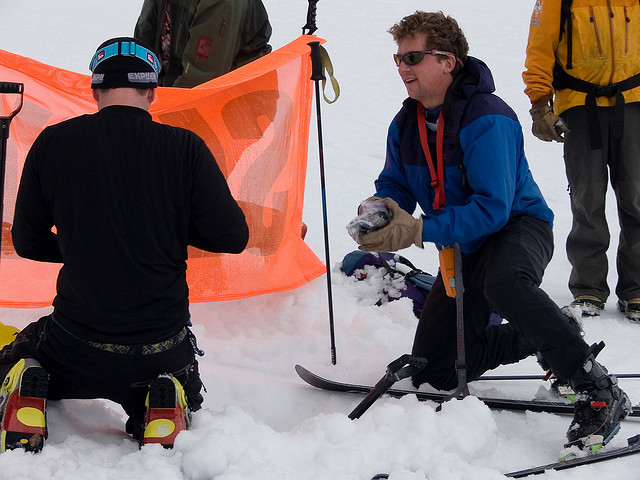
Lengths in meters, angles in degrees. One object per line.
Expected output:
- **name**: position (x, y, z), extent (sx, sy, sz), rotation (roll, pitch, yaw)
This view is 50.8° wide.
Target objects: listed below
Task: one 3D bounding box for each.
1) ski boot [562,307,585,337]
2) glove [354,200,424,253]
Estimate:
- **ski boot**: position (1.260, 0.428, 3.376), extent (0.112, 0.155, 0.283), rotation (5, 8, 21)
- **glove**: position (0.351, -0.068, 3.476), extent (0.352, 0.269, 0.181), rotation (2, 7, -4)
